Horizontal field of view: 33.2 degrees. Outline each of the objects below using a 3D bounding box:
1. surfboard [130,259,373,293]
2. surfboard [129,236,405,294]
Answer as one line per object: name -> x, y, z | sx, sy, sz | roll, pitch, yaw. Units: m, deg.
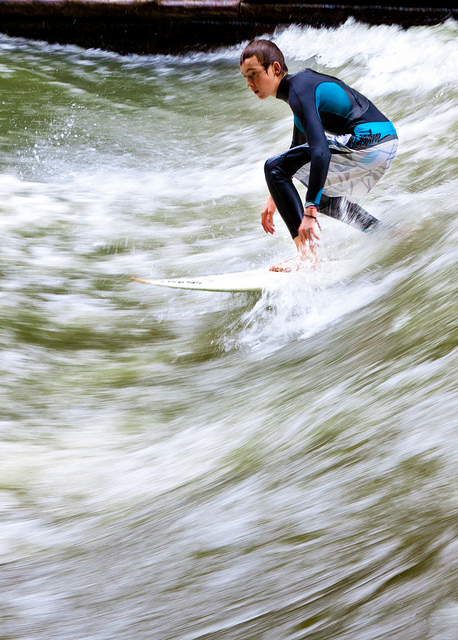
surfboard -> 0.126, -0.205, 3.711 | 0.911, 0.090, 0.143 | -7, 5, 17
surfboard -> 0.197, -0.264, 3.845 | 1.281, 0.152, 0.274 | -8, 21, 32
